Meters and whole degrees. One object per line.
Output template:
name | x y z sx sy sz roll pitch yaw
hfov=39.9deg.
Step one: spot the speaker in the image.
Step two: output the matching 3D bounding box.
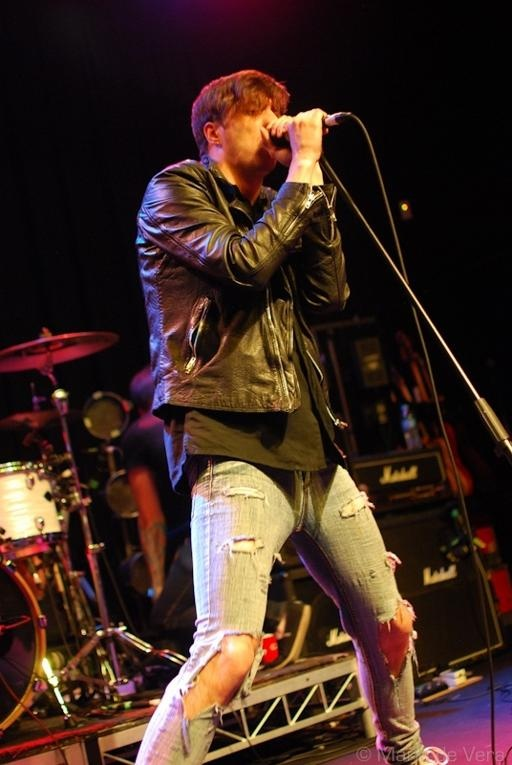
speaker | 0.846 1.042 3.570 0.522 0.726 0.389 -13 -1 -17
